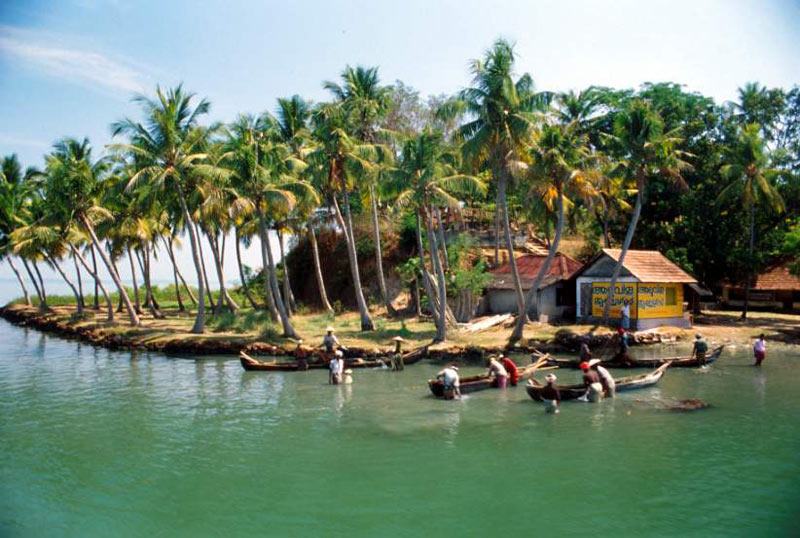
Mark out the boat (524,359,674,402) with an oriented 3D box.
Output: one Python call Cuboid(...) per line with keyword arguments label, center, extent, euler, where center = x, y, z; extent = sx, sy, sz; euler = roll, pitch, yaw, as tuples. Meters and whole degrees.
Cuboid(label="boat", center=(10.896, 6.499, 36.312), extent=(8.669, 1.839, 4.556), euler=(-1, -3, 7))
